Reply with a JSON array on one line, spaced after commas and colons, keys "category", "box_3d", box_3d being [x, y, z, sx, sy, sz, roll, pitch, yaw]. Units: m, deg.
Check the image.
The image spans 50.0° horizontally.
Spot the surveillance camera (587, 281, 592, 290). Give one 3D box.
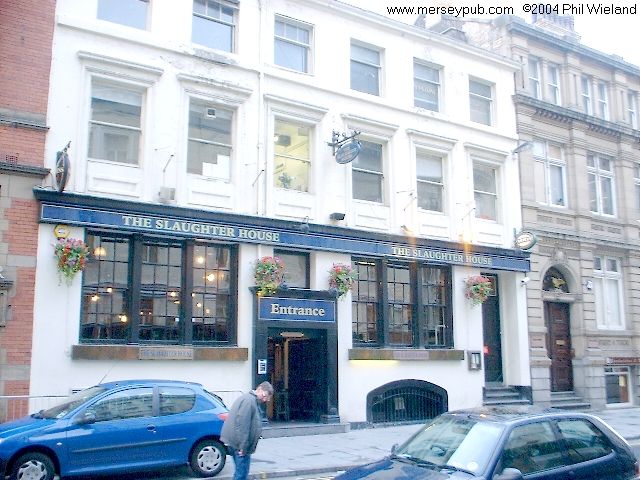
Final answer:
[{"category": "surveillance camera", "box_3d": [10.784, 1.788, 27.426, 0.304, 0.336, 0.087, 9, -14, -38]}]

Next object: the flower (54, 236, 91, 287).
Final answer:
[{"category": "flower", "box_3d": [-6.579, 0.565, 18.253, 1.036, 1.075, 0.964, 14, -19, -36]}]

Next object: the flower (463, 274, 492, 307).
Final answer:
[{"category": "flower", "box_3d": [5.572, 1.689, 24.359, 0.952, 1.017, 0.964, -11, 12, -16]}]

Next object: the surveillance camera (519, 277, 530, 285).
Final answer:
[{"category": "surveillance camera", "box_3d": [7.714, 1.513, 25.747, 0.315, 0.273, 0.159, 9, -13, -36]}]

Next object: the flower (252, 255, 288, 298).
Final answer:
[{"category": "flower", "box_3d": [-1.535, 1.071, 20.480, 0.881, 1.123, 0.556, 5, 1, -6]}]

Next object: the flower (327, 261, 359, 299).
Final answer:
[{"category": "flower", "box_3d": [0.578, 1.328, 21.740, 0.946, 1.241, 1.190, -4, -10, 30]}]
